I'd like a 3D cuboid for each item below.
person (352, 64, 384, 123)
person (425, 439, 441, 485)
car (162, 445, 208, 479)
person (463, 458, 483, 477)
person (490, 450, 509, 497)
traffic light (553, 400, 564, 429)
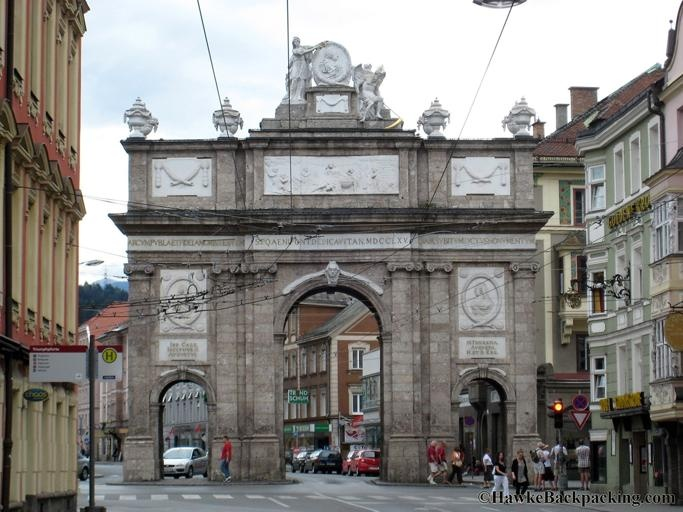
[{"bbox_3d":[1.265,-7.665,74.547,1.325,2.324,0.465,-5,-1,1],"label":"person"},{"bbox_3d":[4.043,9.168,71.530,0.557,1.749,1.547,-4,-2,3],"label":"person"},{"bbox_3d":[-8.060,10.588,83.156,1.542,1.113,3.025,-3,-15,9],"label":"car"},{"bbox_3d":[7.074,11.350,86.285,0.831,1.388,0.868,-3,-4,20],"label":"person"},{"bbox_3d":[5.634,7.878,57.731,0.536,1.467,1.970,-4,-2,5],"label":"person"},{"bbox_3d":[7.483,5.499,55.920,0.350,0.902,0.781,-5,-2,6],"label":"traffic light"}]
